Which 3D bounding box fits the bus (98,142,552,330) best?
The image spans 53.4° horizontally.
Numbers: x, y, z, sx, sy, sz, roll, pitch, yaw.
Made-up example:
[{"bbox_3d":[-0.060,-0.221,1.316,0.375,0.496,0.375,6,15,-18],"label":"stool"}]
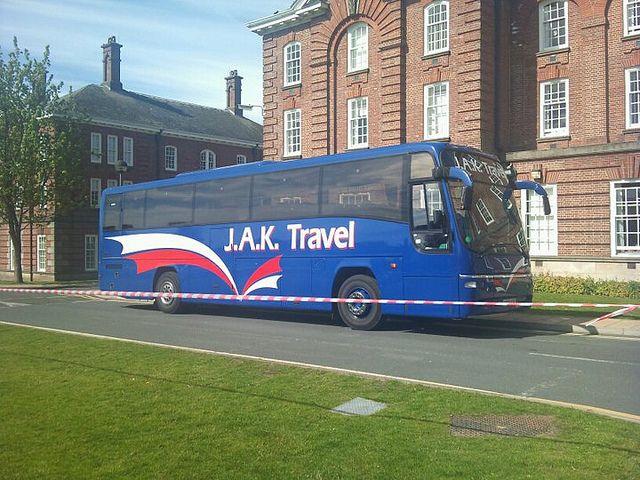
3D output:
[{"bbox_3d":[-1.051,-0.034,19.898,14.123,4.498,4.011,-2,-3,33],"label":"bus"}]
